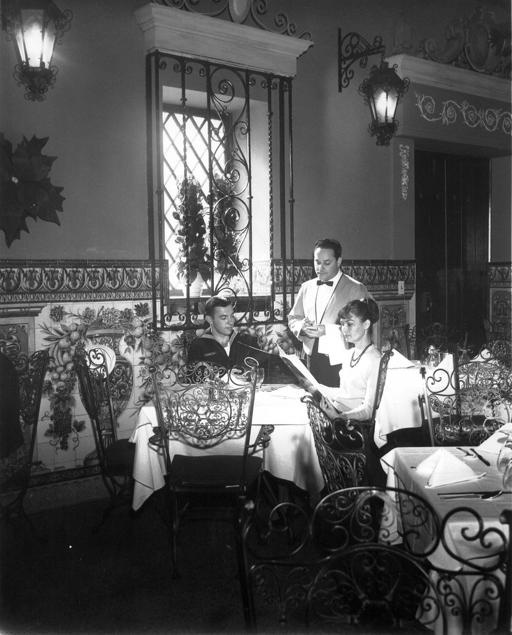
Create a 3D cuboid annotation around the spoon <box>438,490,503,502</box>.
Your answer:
[{"bbox_3d":[0.646,0.533,1.875,0.211,0.014,0.067,-2,7,-8],"label":"spoon"}]

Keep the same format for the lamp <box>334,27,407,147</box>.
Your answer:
[{"bbox_3d":[0.807,-1.625,4.352,0.394,0.877,0.795,-1,6,-7],"label":"lamp"}]
